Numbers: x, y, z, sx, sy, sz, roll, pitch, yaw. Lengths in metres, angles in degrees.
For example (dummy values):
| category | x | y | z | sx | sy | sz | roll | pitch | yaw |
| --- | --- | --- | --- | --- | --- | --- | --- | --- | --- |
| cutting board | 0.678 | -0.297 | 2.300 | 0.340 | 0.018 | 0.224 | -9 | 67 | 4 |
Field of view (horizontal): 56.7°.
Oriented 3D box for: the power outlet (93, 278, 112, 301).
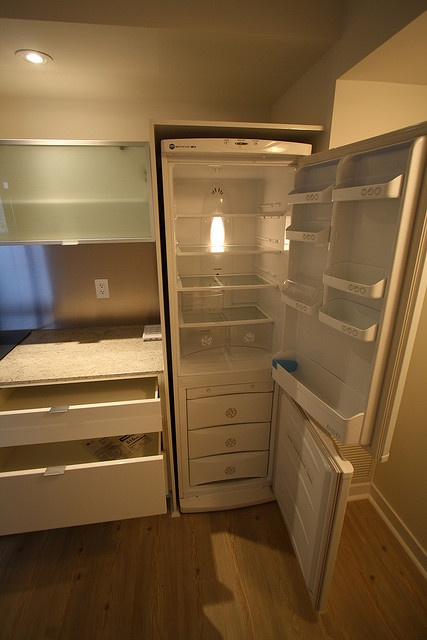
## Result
| category | x | y | z | sx | sy | sz | roll | pitch | yaw |
| --- | --- | --- | --- | --- | --- | --- | --- | --- | --- |
| power outlet | -0.653 | -0.192 | 2.321 | 0.117 | 0.185 | 0.018 | -3 | 26 | -10 |
